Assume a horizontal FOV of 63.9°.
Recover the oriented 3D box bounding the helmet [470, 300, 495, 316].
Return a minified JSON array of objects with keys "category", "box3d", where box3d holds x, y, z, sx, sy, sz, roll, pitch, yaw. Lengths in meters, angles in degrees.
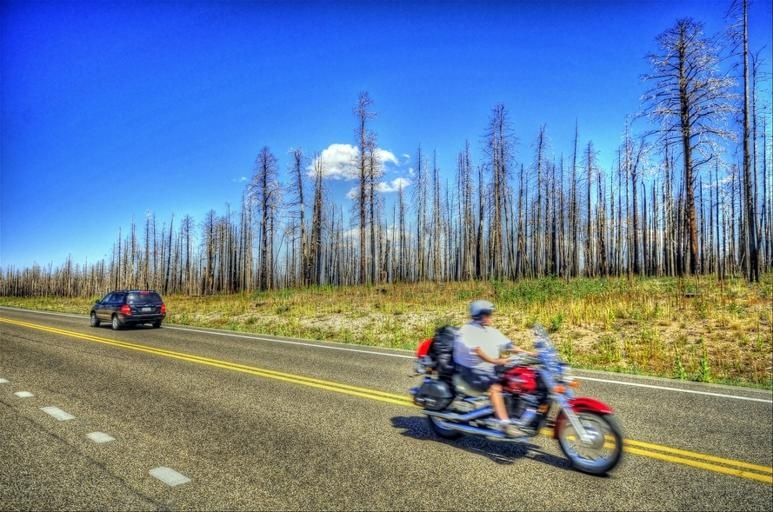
[{"category":"helmet","box3d":[2.186,1.188,14.285,0.458,0.256,0.312,-17,14,-25]}]
